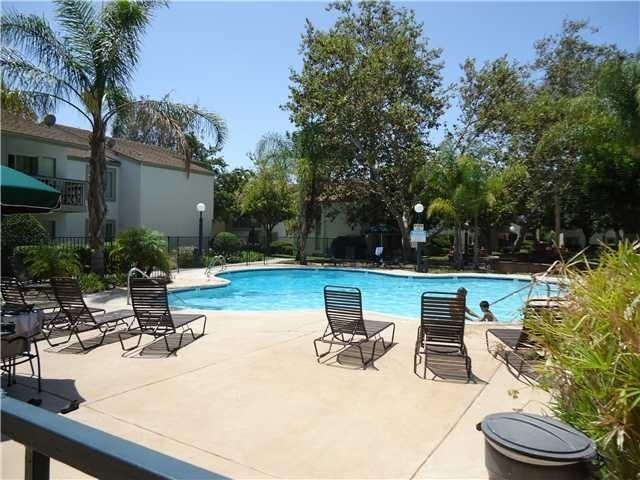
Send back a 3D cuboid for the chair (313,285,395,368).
[{"bbox_3d":[0.635,1.472,8.749,0.934,1.453,1.676,1,6,27],"label":"chair"}]
